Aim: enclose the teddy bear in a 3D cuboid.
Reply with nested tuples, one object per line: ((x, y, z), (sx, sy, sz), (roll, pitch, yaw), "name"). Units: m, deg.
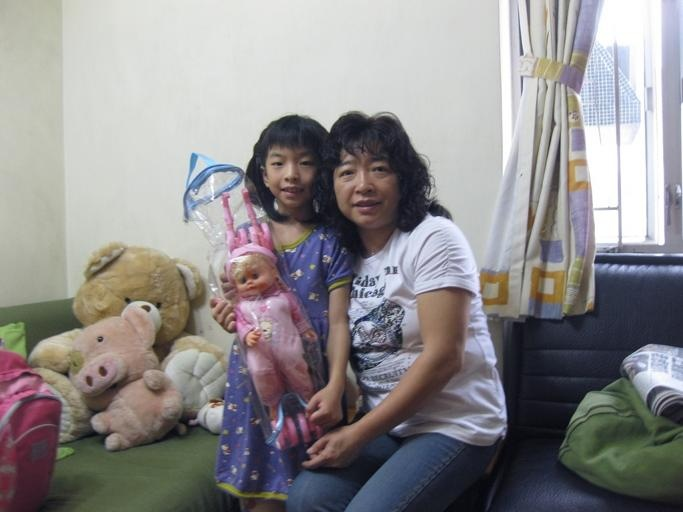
((-0.859, 0.301, 2.617), (0.833, 0.964, 0.703), (1, -6, -15), "teddy bear")
